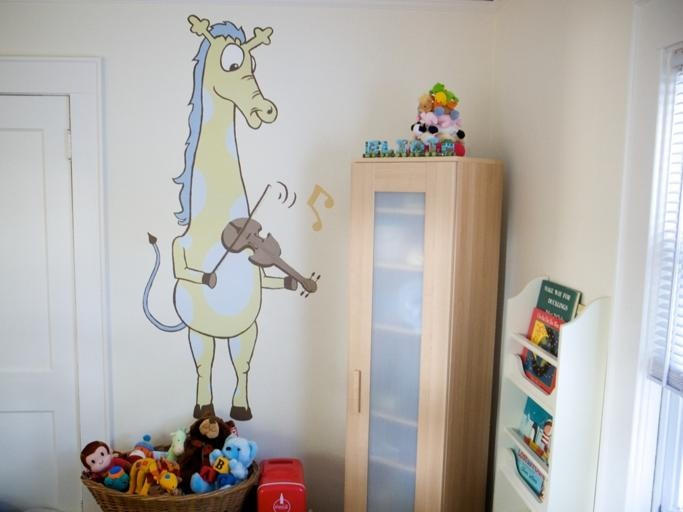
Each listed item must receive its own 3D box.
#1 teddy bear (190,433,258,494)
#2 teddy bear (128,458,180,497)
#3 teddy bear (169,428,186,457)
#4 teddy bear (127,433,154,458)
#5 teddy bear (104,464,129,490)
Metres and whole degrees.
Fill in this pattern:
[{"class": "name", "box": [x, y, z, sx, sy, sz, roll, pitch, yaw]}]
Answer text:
[{"class": "teddy bear", "box": [-0.653, 1.137, 3.030, 0.228, 0.325, 0.282, 11, -15, 46]}, {"class": "teddy bear", "box": [-0.972, 1.163, 2.909, 0.233, 0.191, 0.155, 7, -13, 11]}, {"class": "teddy bear", "box": [-0.919, 1.041, 3.043, 0.090, 0.153, 0.116, 0, 6, -2]}, {"class": "teddy bear", "box": [-1.116, 1.051, 3.044, 0.105, 0.115, 0.135, 4, 7, 32]}, {"class": "teddy bear", "box": [-1.189, 1.159, 2.916, 0.112, 0.129, 0.117, -9, -6, 31]}]
